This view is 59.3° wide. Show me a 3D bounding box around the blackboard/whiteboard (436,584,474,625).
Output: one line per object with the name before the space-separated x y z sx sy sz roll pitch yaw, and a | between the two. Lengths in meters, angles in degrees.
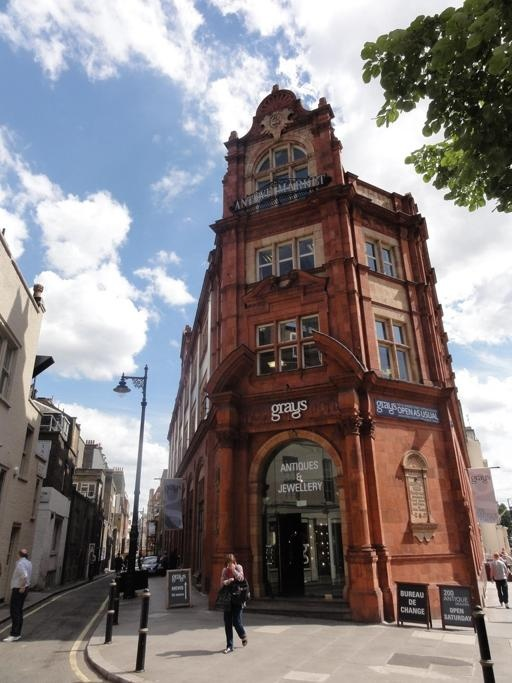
blackboard/whiteboard | 4.627 6.192 10.421 0.754 0.885 0.360 -14 -26 29

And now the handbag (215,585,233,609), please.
handbag | -0.542 4.591 7.995 0.252 0.486 0.368 -4 -35 13

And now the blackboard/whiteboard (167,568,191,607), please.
blackboard/whiteboard | -2.442 7.799 14.160 0.832 1.051 0.485 9 -24 -21
